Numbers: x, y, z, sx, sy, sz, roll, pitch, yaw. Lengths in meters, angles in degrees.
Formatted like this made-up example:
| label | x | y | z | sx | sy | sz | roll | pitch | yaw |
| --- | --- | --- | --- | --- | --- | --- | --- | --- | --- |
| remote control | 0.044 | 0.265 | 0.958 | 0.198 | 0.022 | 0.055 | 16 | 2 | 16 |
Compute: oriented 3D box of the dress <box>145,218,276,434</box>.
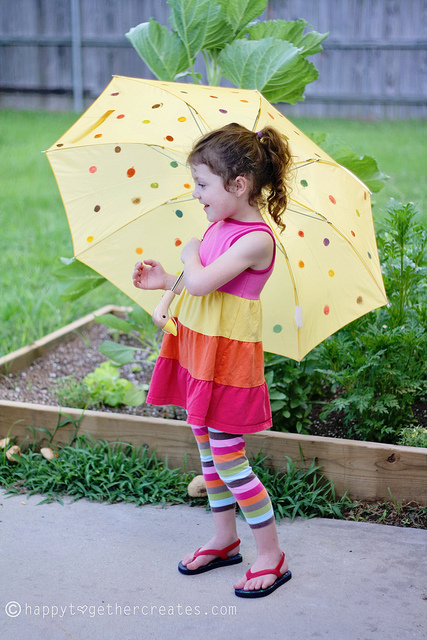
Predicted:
| label | x | y | z | sx | sy | sz | roll | pitch | yaw |
| --- | --- | --- | --- | --- | --- | --- | --- | --- | --- |
| dress | 0.003 | 0.055 | 1.736 | 0.286 | 0.509 | 0.296 | -6 | 13 | -29 |

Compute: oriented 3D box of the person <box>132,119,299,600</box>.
| label | x | y | z | sx | sy | sz | roll | pitch | yaw |
| --- | --- | --- | --- | --- | --- | --- | --- | --- | --- |
| person | 0.060 | 0.096 | 1.804 | 0.451 | 1.313 | 0.537 | -6 | 13 | -32 |
